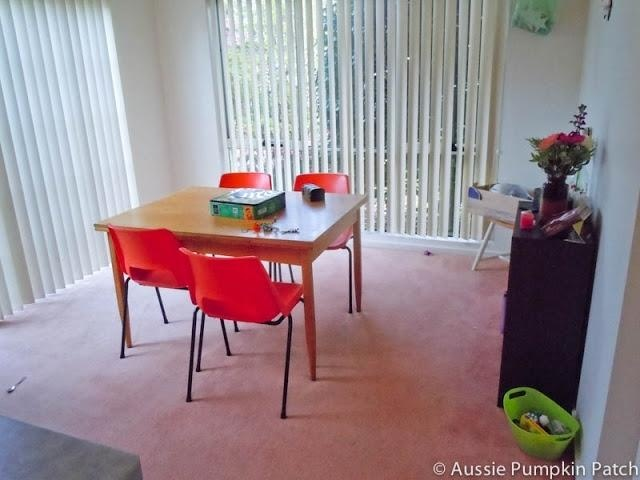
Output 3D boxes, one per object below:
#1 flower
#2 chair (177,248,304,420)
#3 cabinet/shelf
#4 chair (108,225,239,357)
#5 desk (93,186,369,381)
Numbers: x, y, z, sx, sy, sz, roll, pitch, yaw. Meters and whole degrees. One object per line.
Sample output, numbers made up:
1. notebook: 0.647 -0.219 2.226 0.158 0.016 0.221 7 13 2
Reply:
1. flower: 1.403 -0.565 2.746 0.343 0.403 0.330 7 1 7
2. chair: -0.453 0.488 2.965 0.679 1.087 0.772 6 19 15
3. cabinet/shelf: 1.248 0.407 2.556 0.315 0.901 0.927 7 22 23
4. chair: -1.019 0.315 3.230 0.689 0.921 0.699 -5 11 -20
5. desk: -0.653 0.245 3.539 1.415 0.934 1.140 4 17 6
